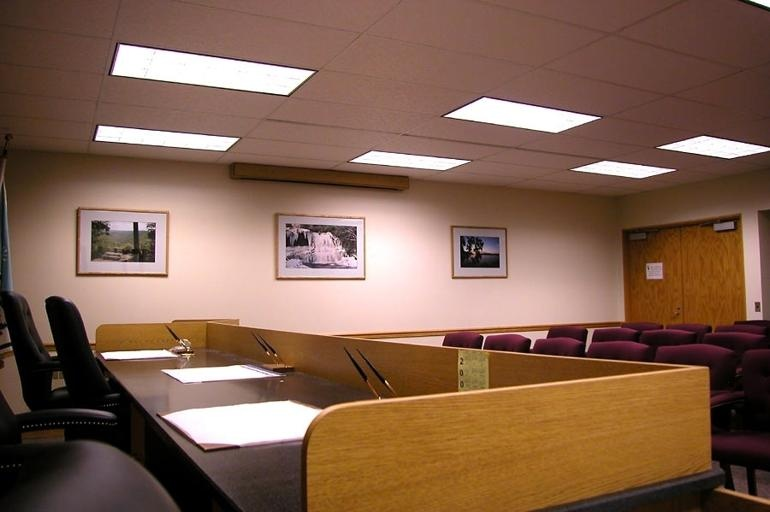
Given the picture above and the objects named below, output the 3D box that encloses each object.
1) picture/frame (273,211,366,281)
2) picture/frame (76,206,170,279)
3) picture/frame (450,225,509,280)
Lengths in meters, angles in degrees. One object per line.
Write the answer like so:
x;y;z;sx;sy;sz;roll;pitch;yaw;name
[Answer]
-1.000;-0.120;7.487;1.003;0.719;0.024;3;-11;-25;picture/frame
-3.344;-0.160;6.546;0.912;0.809;0.062;2;-8;-24;picture/frame
1.499;-0.049;8.539;0.871;0.679;0.022;5;-12;-24;picture/frame
